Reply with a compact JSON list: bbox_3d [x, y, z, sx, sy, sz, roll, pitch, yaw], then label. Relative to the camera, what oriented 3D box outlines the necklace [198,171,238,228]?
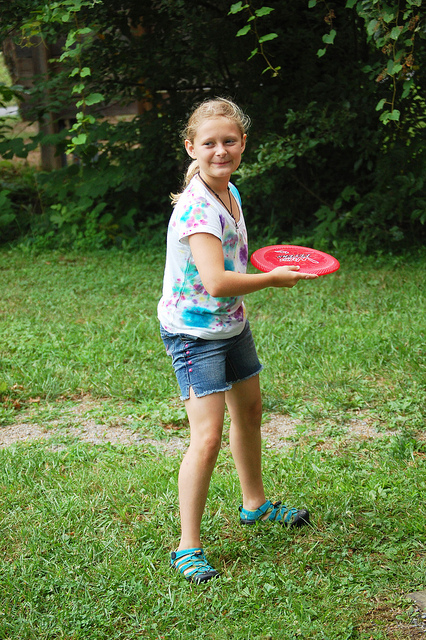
[{"bbox_3d":[0.013,-0.430,2.281,0.132,0.195,0.193,-2,9,-1],"label":"necklace"}]

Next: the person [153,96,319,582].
[{"bbox_3d":[0.051,0.071,2.279,0.528,1.722,0.471,-2,10,4],"label":"person"}]
